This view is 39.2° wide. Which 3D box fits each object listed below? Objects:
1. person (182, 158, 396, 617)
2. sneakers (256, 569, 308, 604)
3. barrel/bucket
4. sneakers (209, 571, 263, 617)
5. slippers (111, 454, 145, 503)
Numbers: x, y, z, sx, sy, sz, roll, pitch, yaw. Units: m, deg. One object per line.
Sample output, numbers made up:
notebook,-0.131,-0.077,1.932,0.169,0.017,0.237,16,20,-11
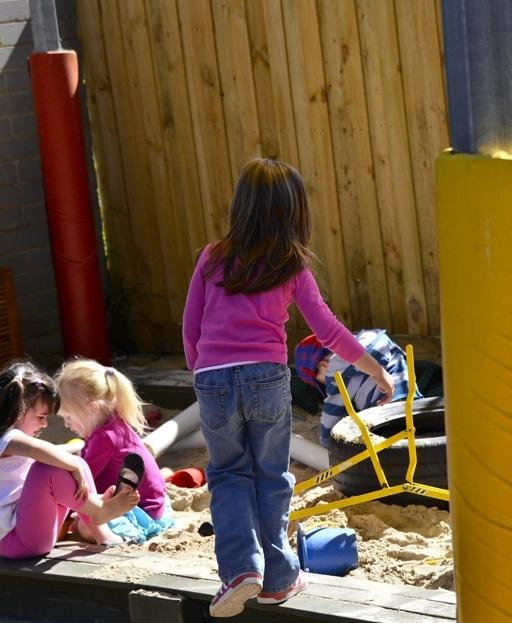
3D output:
person,-0.019,0.173,2.159,0.629,1.276,0.497,-7,4,-36
sneakers,0.075,0.782,2.038,0.053,0.060,0.149,9,21,41
barrel/bucket,0.231,0.787,2.344,0.169,0.156,0.139,-8,-14,-6
sneakers,-0.053,0.743,1.923,0.076,0.083,0.184,33,-60,-29
slippers,-0.410,0.555,2.394,0.061,0.170,0.046,13,28,-1
